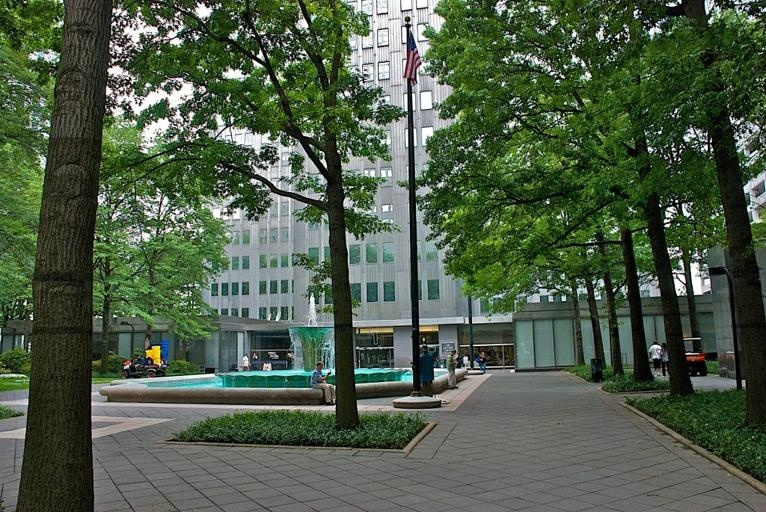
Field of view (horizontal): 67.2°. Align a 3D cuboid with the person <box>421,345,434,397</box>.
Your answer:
[{"bbox_3d":[1.585,4.336,21.448,0.456,1.736,1.090,-3,-8,4],"label":"person"}]

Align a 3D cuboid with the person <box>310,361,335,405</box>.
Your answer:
[{"bbox_3d":[-2.235,4.758,21.557,0.849,1.574,1.230,0,-9,-22],"label":"person"}]

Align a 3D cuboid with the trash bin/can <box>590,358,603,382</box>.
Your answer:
[{"bbox_3d":[10.388,5.599,28.177,0.487,1.100,0.450,-5,-8,18],"label":"trash bin/can"}]

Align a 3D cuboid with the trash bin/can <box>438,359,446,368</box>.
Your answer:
[{"bbox_3d":[5.113,9.555,51.165,0.770,0.730,0.571,0,-15,-1],"label":"trash bin/can"}]
